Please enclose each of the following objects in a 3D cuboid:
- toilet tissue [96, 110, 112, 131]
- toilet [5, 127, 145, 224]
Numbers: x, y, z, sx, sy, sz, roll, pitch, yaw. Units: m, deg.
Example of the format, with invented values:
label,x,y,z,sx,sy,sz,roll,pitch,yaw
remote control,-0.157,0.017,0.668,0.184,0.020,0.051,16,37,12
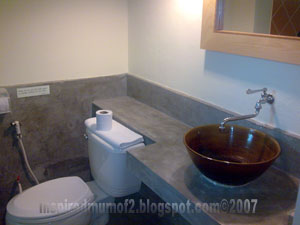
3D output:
label,x,y,z,sx,sy,sz,roll,pitch,yaw
toilet tissue,-0.363,0.062,1.780,0.135,0.153,0.139,5,13,16
toilet,-0.590,0.452,1.920,1.107,0.818,0.607,-6,32,-33
